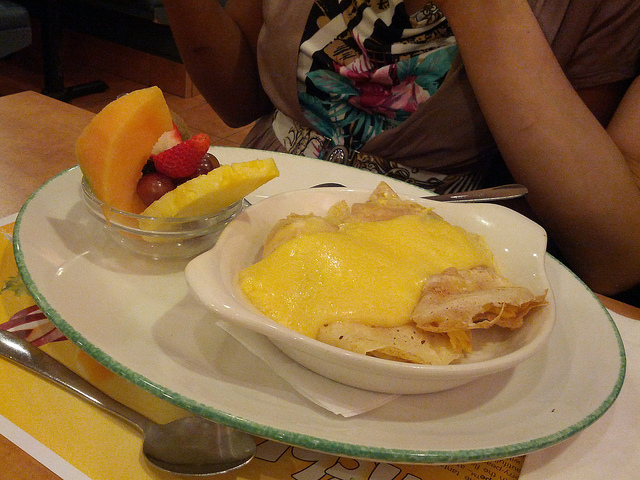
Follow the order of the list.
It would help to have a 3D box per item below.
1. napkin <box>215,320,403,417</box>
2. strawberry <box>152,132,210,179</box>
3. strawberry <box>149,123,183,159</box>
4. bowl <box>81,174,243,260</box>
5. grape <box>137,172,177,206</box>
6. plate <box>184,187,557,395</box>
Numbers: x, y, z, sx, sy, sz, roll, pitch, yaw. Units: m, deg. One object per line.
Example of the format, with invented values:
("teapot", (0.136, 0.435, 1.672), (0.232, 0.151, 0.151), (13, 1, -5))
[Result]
("napkin", (0.001, 0.193, 0.681), (0.166, 0.025, 0.148), (33, 21, 26))
("strawberry", (-0.228, -0.129, 0.868), (0.050, 0.080, 0.065), (49, 23, 5))
("strawberry", (-0.253, -0.162, 0.856), (0.051, 0.032, 0.052), (-1, 34, 9))
("bowl", (-0.256, -0.012, 0.824), (0.163, 0.063, 0.159), (12, 32, -7))
("grape", (-0.275, -0.079, 0.838), (0.045, 0.042, 0.044), (-3, 14, -12))
("plate", (0.036, 0.076, 0.851), (0.588, 0.123, 0.503), (15, 24, 29))
